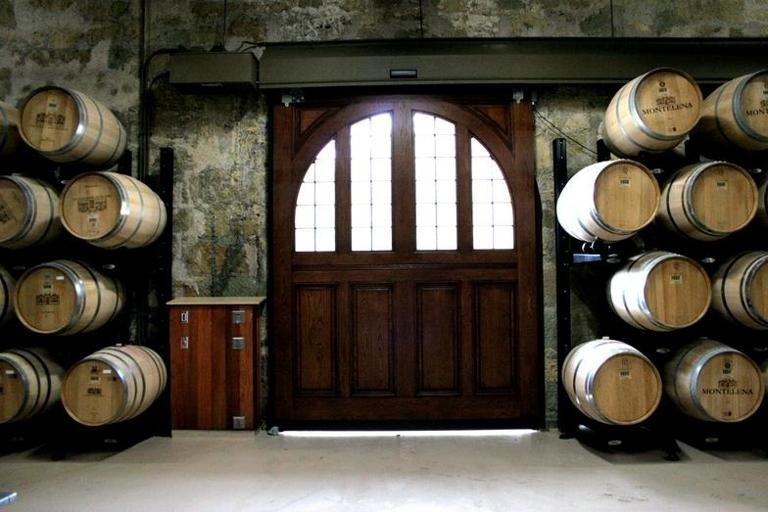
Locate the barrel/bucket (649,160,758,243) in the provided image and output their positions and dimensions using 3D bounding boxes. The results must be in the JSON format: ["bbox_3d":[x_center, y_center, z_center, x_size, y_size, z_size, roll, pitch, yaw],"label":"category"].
[{"bbox_3d":[3.119,-0.540,9.020,0.766,0.822,1.085,7,1,3],"label":"barrel/bucket"}]

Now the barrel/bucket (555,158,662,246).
[{"bbox_3d":[2.196,-0.578,9.063,0.807,0.863,1.129,4,2,12],"label":"barrel/bucket"}]

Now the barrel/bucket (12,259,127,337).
[{"bbox_3d":[-3.142,0.376,9.085,0.812,0.775,1.090,-16,-3,18],"label":"barrel/bucket"}]

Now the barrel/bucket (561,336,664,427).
[{"bbox_3d":[2.234,1.193,9.054,0.832,0.871,1.155,5,-2,7],"label":"barrel/bucket"}]

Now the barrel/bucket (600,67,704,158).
[{"bbox_3d":[2.630,-1.413,8.810,0.912,0.802,0.353,-1,-3,21],"label":"barrel/bucket"}]

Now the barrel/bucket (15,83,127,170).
[{"bbox_3d":[-3.141,-1.239,9.170,0.799,0.756,1.056,10,2,3],"label":"barrel/bucket"}]

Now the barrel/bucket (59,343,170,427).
[{"bbox_3d":[-2.691,1.266,8.933,1.002,0.753,0.421,1,-3,-15],"label":"barrel/bucket"}]

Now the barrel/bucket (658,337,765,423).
[{"bbox_3d":[3.267,1.269,9.018,0.773,0.842,1.107,-5,4,6],"label":"barrel/bucket"}]
